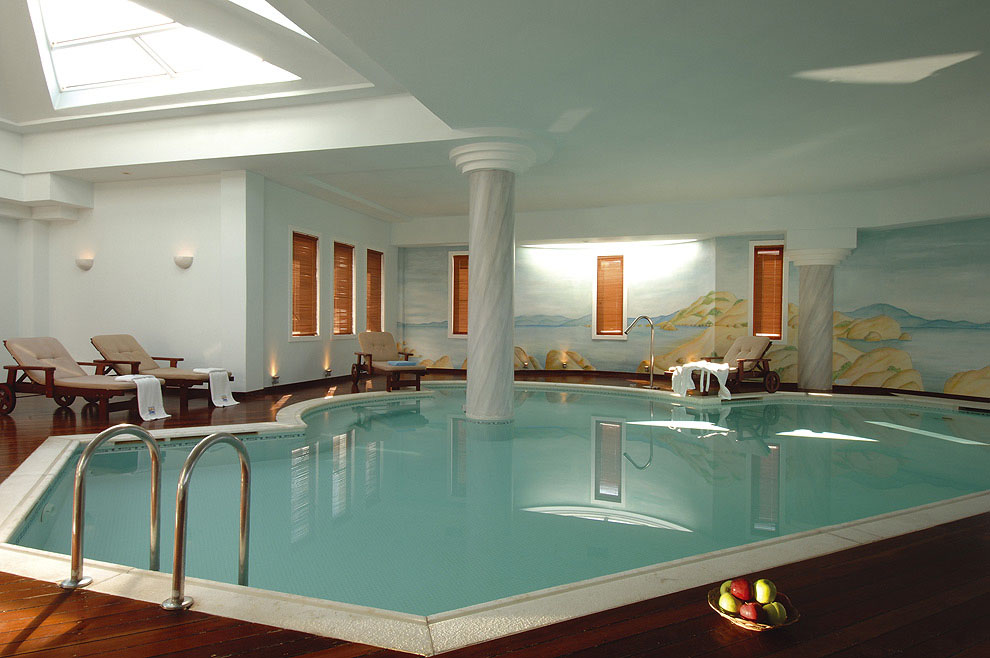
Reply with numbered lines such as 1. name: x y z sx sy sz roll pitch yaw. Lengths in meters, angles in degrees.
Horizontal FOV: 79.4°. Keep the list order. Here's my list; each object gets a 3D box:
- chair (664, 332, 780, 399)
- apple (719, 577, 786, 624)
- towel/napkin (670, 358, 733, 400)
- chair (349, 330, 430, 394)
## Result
1. chair: 4.548 0.745 12.083 1.856 1.002 1.402 2 -5 -24
2. apple: 1.646 1.774 3.932 0.297 0.113 0.304 3 -1 -2
3. towel/napkin: 4.029 0.951 11.697 0.892 0.498 0.884 1 0 39
4. chair: -2.231 0.730 12.782 1.136 1.124 1.790 -1 3 -33
